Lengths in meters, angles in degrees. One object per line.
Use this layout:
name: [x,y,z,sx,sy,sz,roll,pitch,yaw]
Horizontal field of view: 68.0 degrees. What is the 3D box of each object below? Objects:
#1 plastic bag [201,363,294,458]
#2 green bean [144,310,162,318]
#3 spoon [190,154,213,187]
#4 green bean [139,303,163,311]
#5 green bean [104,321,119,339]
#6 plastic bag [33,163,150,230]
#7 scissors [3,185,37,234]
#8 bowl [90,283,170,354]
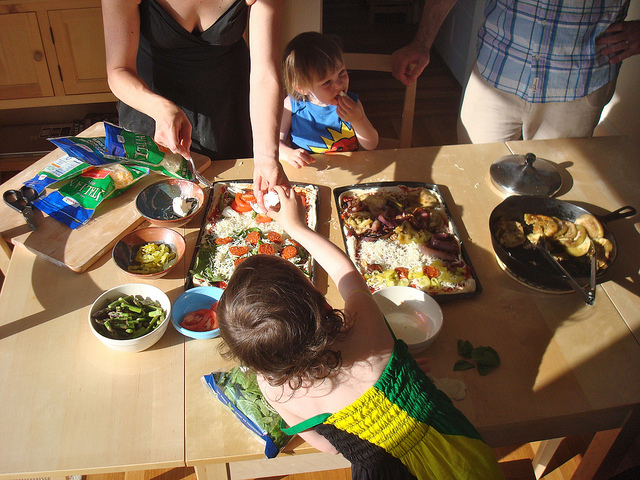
plastic bag: [-0.211,0.481,1.388,0.240,0.073,0.281,-31,78,-33]
green bean: [-0.549,0.241,1.554,0.043,0.013,0.024,-23,55,2]
spoon: [-0.502,-0.278,1.978,0.043,0.048,0.269,23,19,-34]
green bean: [-0.554,0.224,1.570,0.062,0.010,0.016,21,13,17]
green bean: [-0.667,0.291,1.507,0.021,0.022,0.076,-16,67,-31]
plastic bag: [-0.922,-0.243,1.894,0.212,0.079,0.334,23,46,18]
scissors: [-1.172,-0.143,1.850,0.118,0.028,0.227,-23,56,-18]
bowl: [-0.607,0.250,1.567,0.221,0.117,0.225,4,46,-4]
